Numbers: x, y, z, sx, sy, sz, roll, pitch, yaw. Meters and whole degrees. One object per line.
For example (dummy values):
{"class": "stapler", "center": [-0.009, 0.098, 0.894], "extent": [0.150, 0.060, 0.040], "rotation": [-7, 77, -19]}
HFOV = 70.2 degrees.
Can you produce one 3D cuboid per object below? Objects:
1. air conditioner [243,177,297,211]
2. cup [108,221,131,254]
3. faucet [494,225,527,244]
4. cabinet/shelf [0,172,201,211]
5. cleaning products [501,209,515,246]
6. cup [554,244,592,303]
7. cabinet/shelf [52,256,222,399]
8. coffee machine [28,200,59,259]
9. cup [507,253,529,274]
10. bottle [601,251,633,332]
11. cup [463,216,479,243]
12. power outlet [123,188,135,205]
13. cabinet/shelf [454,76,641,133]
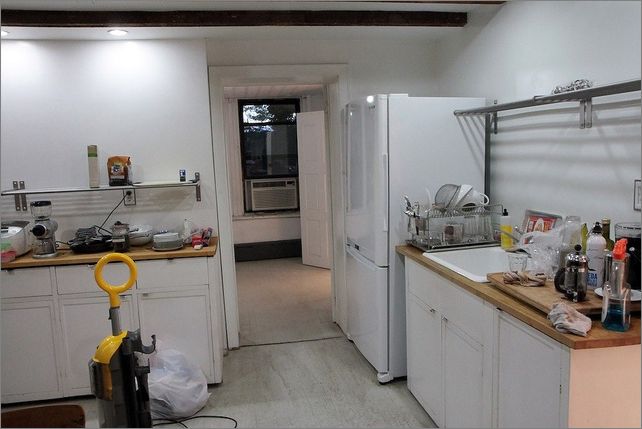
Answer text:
{"class": "air conditioner", "center": [-0.781, -0.331, 7.482], "extent": [0.849, 0.554, 0.516], "rotation": [-1, 1, -11]}
{"class": "cup", "center": [-1.692, 0.175, 3.868], "extent": [0.219, 0.288, 0.217], "rotation": [0, 9, 0]}
{"class": "faucet", "center": [1.463, 0.160, 3.543], "extent": [0.158, 0.164, 0.111], "rotation": [-11, 6, 19]}
{"class": "cabinet/shelf", "center": [-1.952, -0.180, 4.010], "extent": [1.714, 0.293, 0.377], "rotation": [-2, 15, -6]}
{"class": "cleaning products", "center": [1.424, 0.111, 3.497], "extent": [0.111, 0.269, 0.288], "rotation": [5, 16, 22]}
{"class": "cup", "center": [1.391, 0.309, 2.506], "extent": [0.181, 0.295, 0.147], "rotation": [4, 15, 17]}
{"class": "cabinet/shelf", "center": [-1.439, 0.811, 3.438], "extent": [1.278, 1.223, 0.507], "rotation": [-1, -1, -8]}
{"class": "coffee machine", "center": [-2.274, 0.122, 3.734], "extent": [0.191, 0.441, 0.200], "rotation": [-10, 17, -31]}
{"class": "cup", "center": [1.243, 0.299, 2.922], "extent": [0.125, 0.108, 0.115], "rotation": [-2, 4, 0]}
{"class": "bottle", "center": [1.521, 0.398, 2.325], "extent": [0.150, 0.369, 0.114], "rotation": [-1, 15, -2]}
{"class": "cup", "center": [1.172, 0.103, 3.591], "extent": [0.166, 0.246, 0.169], "rotation": [0, 4, 0]}
{"class": "power outlet", "center": [-1.722, -0.173, 4.161], "extent": [0.123, 0.181, 0.123], "rotation": [1, 2, -5]}
{"class": "cabinet/shelf", "center": [1.547, -0.704, 3.125], "extent": [0.424, 0.401, 1.399], "rotation": [-6, 16, -18]}
